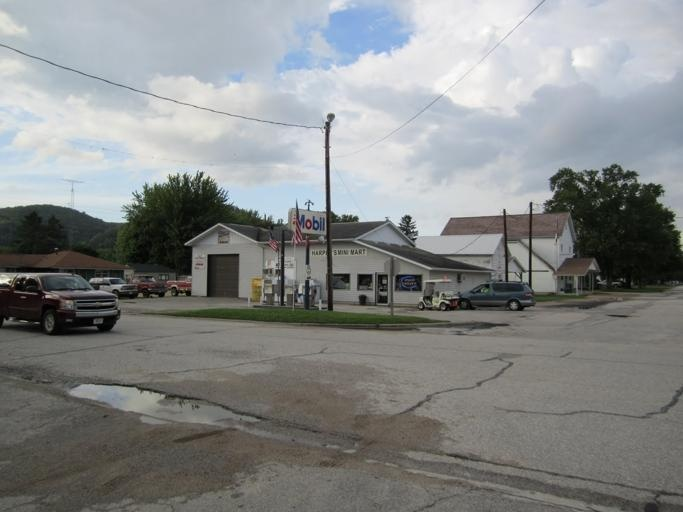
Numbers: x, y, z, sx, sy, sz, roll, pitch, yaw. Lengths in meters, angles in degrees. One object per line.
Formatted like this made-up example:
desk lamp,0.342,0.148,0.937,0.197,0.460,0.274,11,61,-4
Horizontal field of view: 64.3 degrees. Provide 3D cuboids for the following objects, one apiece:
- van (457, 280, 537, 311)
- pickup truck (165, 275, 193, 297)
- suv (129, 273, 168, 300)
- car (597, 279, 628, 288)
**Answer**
van,9.486,2.391,33.004,3.988,1.564,1.970,2,-2,25
pickup truck,-15.055,2.783,50.471,2.915,1.447,1.645,0,-4,21
suv,-17.470,2.861,48.907,3.368,1.517,1.867,-2,-2,42
car,46.638,4.750,94.307,5.407,1.881,1.648,-3,-1,18
